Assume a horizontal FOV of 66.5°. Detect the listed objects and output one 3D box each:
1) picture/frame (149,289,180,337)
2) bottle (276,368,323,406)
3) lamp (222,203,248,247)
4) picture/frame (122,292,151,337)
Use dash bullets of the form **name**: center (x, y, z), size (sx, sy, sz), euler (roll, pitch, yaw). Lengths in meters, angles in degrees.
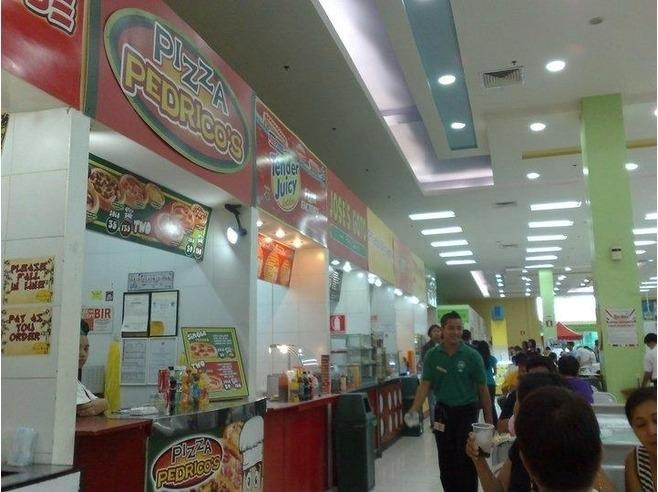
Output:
- **picture/frame**: center (-1.632, 0.679, 4.941), size (0.295, 0.460, 0.011), euler (5, -2, -39)
- **bottle**: center (-0.322, 1.557, 5.594), size (0.369, 0.374, 0.416), euler (4, -5, 14)
- **lamp**: center (-0.895, -0.205, 4.846), size (0.211, 0.381, 0.165), euler (-1, -12, -10)
- **picture/frame**: center (-1.928, 0.695, 5.013), size (0.285, 0.464, 0.023), euler (-2, -10, 6)
